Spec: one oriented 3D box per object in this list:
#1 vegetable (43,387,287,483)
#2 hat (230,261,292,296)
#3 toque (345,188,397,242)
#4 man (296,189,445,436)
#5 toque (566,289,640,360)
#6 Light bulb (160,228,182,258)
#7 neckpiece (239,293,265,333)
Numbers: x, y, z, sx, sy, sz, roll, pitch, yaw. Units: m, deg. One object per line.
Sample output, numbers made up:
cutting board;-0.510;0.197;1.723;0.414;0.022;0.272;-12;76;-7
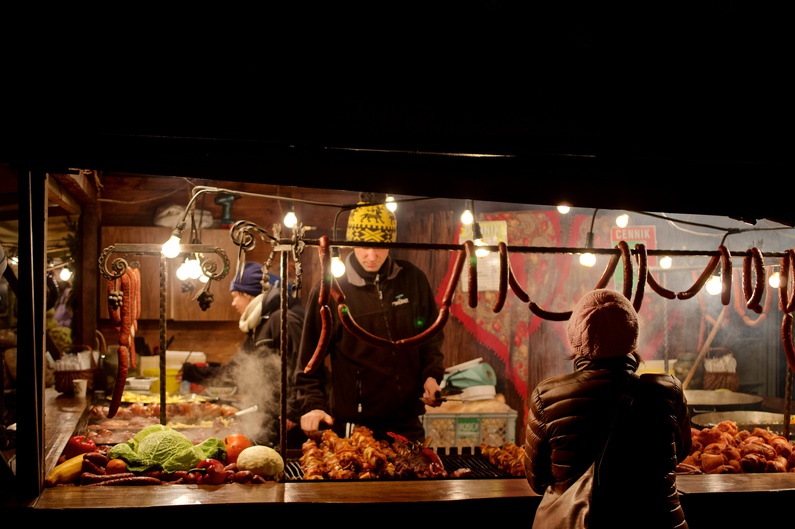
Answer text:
vegetable;-1.615;1.341;5.264;1.594;0.346;1.060;2;-3;-9
hat;-1.443;0.156;7.157;0.418;0.341;0.600;1;-1;19
toque;-0.219;-0.373;6.212;0.597;0.459;0.574;4;1;-16
man;-0.196;0.925;6.332;1.328;2.858;0.937;-6;15;-14
toque;1.244;0.376;4.395;0.433;0.362;0.429;-3;5;9
Light bulb;-1.631;-0.154;5.221;0.143;0.199;0.503;3;-3;-17
neckpiece;-1.420;0.469;7.096;0.149;0.356;0.279;21;13;-25
